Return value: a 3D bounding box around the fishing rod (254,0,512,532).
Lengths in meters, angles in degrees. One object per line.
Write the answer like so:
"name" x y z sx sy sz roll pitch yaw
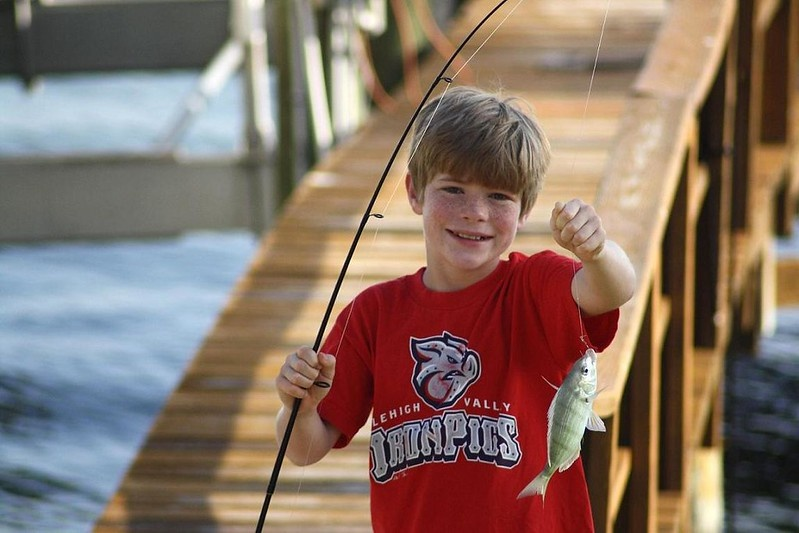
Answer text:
"fishing rod" -0.127 0.065 9.237 0.100 3.235 0.223 18 1 6
